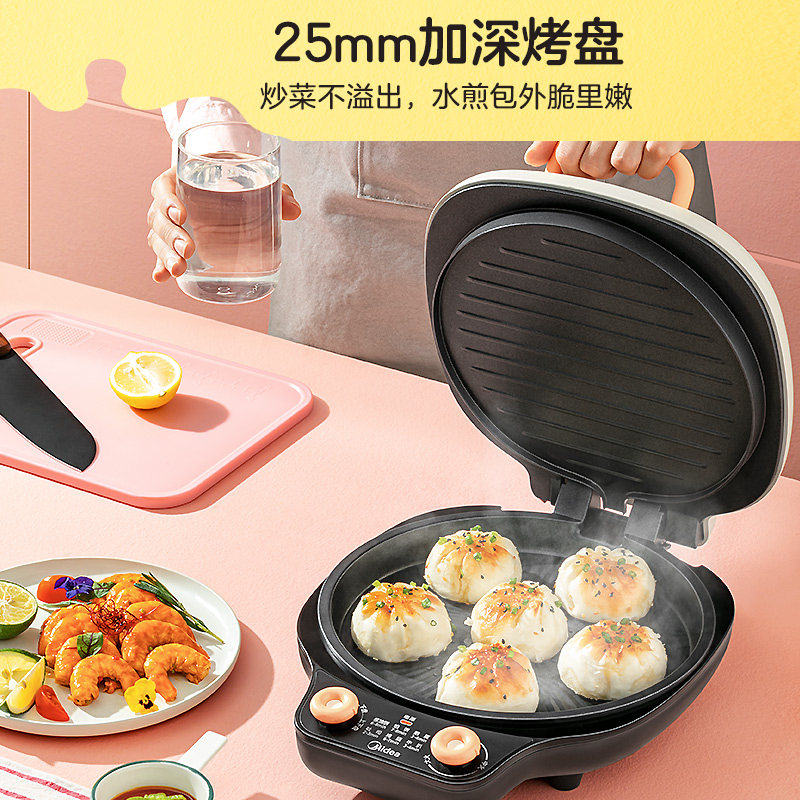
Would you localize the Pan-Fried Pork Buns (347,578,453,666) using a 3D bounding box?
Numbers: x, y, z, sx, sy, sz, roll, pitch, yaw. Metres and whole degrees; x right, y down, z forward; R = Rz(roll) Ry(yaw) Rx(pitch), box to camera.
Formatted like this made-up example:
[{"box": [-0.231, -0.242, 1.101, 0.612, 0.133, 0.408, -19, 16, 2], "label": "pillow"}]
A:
[{"box": [0.004, 0.201, 0.710, 0.079, 0.030, 0.073, -19, 37, -29], "label": "Pan-Fried Pork Buns"}]

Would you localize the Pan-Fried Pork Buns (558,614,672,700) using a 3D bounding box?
[{"box": [0.193, 0.228, 0.671, 0.079, 0.056, 0.097, -1, 12, -30], "label": "Pan-Fried Pork Buns"}]

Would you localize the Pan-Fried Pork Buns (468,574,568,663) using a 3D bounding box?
[{"box": [0.112, 0.195, 0.737, 0.101, 0.038, 0.086, -17, 42, -21], "label": "Pan-Fried Pork Buns"}]

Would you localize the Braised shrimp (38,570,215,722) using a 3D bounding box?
[{"box": [-0.256, 0.216, 0.709, 0.111, 0.023, 0.124, -9, 28, -29], "label": "Braised shrimp"}]
